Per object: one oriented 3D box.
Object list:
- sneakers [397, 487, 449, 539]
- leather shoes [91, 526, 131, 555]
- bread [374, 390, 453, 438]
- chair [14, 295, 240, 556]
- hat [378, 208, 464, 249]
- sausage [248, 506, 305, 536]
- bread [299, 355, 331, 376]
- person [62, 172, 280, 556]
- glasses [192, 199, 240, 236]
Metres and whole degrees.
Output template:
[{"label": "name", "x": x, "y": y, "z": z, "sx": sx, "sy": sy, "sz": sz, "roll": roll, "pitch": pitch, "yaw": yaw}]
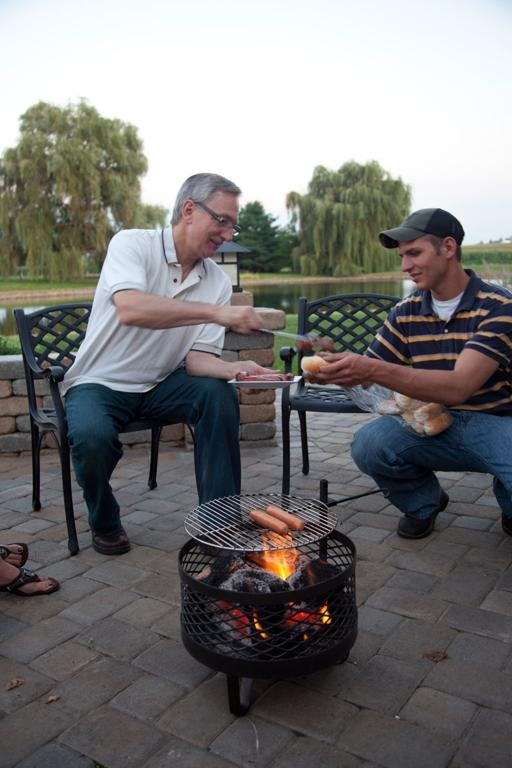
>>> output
[{"label": "sneakers", "x": 0.796, "y": 0.612, "z": 3.180, "sx": 0.131, "sy": 0.120, "sz": 0.337, "roll": 2, "pitch": 9, "yaw": 38}, {"label": "leather shoes", "x": -0.652, "y": 0.701, "z": 3.015, "sx": 0.179, "sy": 0.095, "sz": 0.133, "roll": -2, "pitch": 10, "yaw": -3}, {"label": "bread", "x": 0.698, "y": 0.127, "z": 2.965, "sx": 0.187, "sy": 0.081, "sz": 0.240, "roll": 2, "pitch": 8, "yaw": -42}, {"label": "chair", "x": -0.527, "y": 0.089, "z": 4.077, "sx": 1.220, "sy": 1.772, "sz": 1.323, "roll": -4, "pitch": 7, "yaw": -40}, {"label": "hat", "x": 0.672, "y": -0.614, "z": 2.766, "sx": 0.295, "sy": 0.139, "sz": 0.172, "roll": 8, "pitch": 8, "yaw": -2}, {"label": "sausage", "x": 0.064, "y": 0.413, "z": 2.052, "sx": 0.079, "sy": 0.037, "sz": 0.130, "roll": 2, "pitch": 6, "yaw": -39}, {"label": "bread", "x": 0.231, "y": -0.074, "z": 2.677, "sx": 0.095, "sy": 0.069, "sz": 0.041, "roll": 10, "pitch": 51, "yaw": 29}, {"label": "person", "x": -0.395, "y": -0.109, "z": 3.087, "sx": 0.950, "sy": 1.657, "sz": 0.785, "roll": -5, "pitch": 11, "yaw": -16}, {"label": "glasses", "x": -0.145, "y": -0.754, "z": 3.064, "sx": 0.137, "sy": 0.137, "sz": 0.264, "roll": 4, "pitch": 11, "yaw": 30}]
